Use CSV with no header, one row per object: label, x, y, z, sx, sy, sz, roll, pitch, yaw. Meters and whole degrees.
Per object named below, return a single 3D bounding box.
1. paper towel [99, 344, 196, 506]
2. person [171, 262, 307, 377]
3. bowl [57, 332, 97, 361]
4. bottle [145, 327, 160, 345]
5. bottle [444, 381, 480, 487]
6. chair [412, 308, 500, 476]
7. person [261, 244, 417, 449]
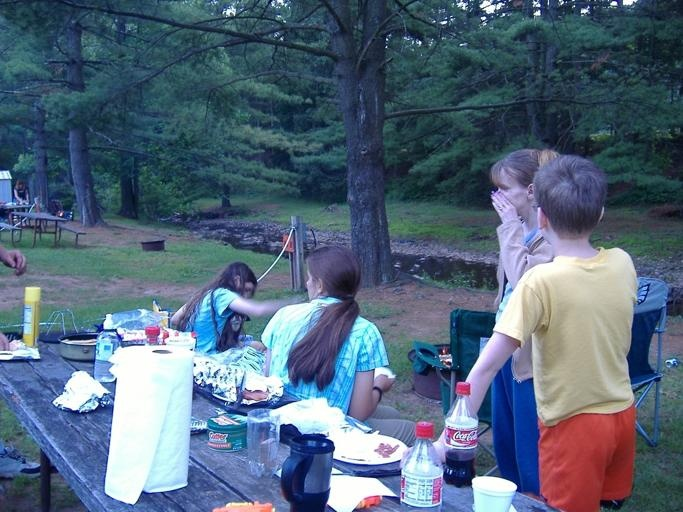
paper towel,-1.050,0.904,4.180,0.485,0.797,0.184,-2,4,-11
person,-0.954,0.527,6.101,0.923,0.772,1.313,-9,-32,-29
bowl,-1.896,0.644,5.537,0.227,0.085,0.212,7,6,-1
bottle,-1.258,0.523,5.140,0.103,0.109,0.105,0,4,-9
bottle,0.678,1.001,4.306,0.210,0.597,0.205,2,-1,0
chair,0.917,1.051,6.479,0.697,1.309,0.708,1,8,-7
person,-0.052,0.549,5.283,0.843,1.491,0.863,2,8,-19
